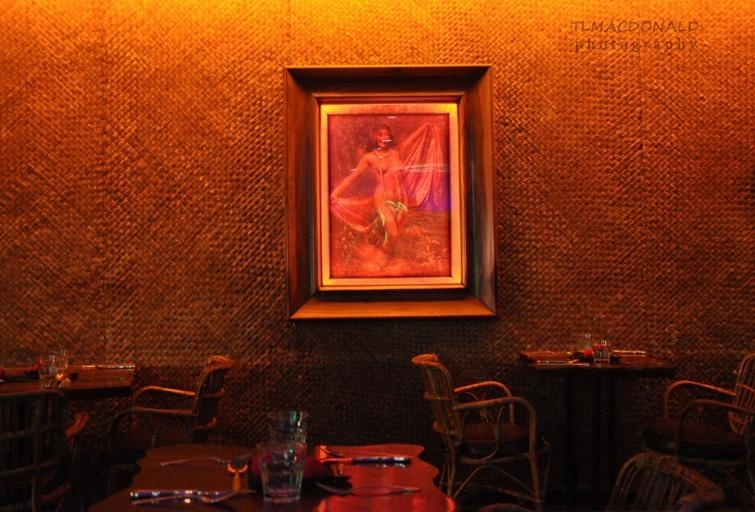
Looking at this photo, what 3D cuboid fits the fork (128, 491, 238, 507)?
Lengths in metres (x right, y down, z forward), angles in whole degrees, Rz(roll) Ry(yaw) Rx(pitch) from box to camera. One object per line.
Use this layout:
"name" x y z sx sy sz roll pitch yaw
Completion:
"fork" -0.751 0.932 2.615 0.401 0.042 0.063 -2 -3 -2

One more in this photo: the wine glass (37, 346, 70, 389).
"wine glass" -2.023 0.708 4.228 0.193 0.261 0.182 -1 -2 0

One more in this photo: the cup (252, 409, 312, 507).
"cup" -0.375 0.774 2.647 0.199 0.338 0.175 -2 -3 -8

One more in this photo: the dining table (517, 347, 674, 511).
"dining table" 1.552 1.025 4.969 1.111 1.281 1.457 1 -6 -2
